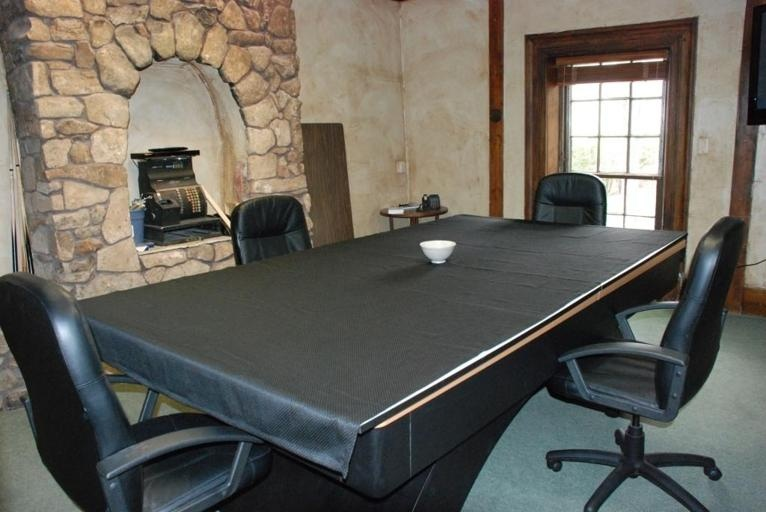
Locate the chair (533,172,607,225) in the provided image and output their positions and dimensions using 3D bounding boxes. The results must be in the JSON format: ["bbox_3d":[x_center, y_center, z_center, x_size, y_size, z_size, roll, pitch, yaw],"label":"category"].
[{"bbox_3d":[1.499,-0.433,4.594,0.440,0.620,0.519,4,8,35],"label":"chair"}]

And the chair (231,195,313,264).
[{"bbox_3d":[-0.805,-0.200,4.040,0.450,0.641,0.526,-8,7,-38],"label":"chair"}]

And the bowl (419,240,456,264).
[{"bbox_3d":[0.316,-0.035,3.303,0.149,0.073,0.153,0,2,0],"label":"bowl"}]
